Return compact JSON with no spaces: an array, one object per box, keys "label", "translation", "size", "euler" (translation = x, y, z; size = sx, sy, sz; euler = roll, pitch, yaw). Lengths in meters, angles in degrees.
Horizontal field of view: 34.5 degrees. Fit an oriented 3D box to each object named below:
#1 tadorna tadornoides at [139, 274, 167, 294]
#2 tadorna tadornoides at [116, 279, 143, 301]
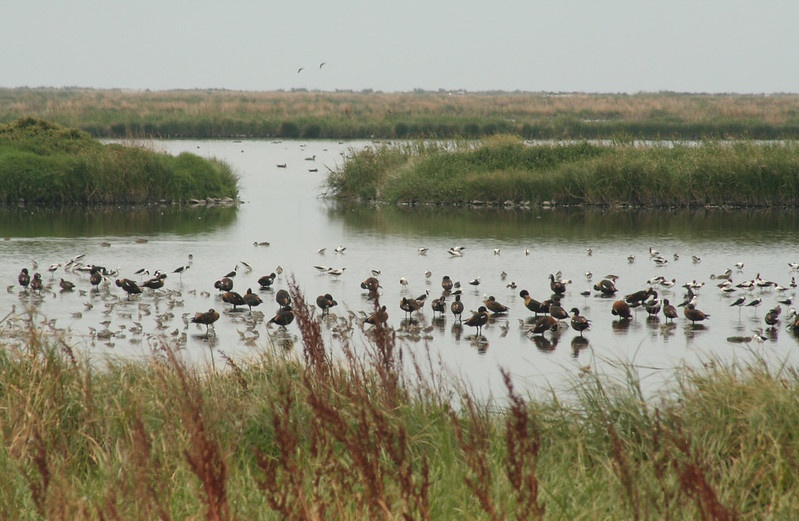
[{"label":"tadorna tadornoides","translation":[-6.533,0.605,33.977],"size":[0.796,0.569,0.310],"euler":[4,26,32]},{"label":"tadorna tadornoides","translation":[-7.166,0.681,33.885],"size":[0.874,0.547,0.351],"euler":[11,19,43]}]
